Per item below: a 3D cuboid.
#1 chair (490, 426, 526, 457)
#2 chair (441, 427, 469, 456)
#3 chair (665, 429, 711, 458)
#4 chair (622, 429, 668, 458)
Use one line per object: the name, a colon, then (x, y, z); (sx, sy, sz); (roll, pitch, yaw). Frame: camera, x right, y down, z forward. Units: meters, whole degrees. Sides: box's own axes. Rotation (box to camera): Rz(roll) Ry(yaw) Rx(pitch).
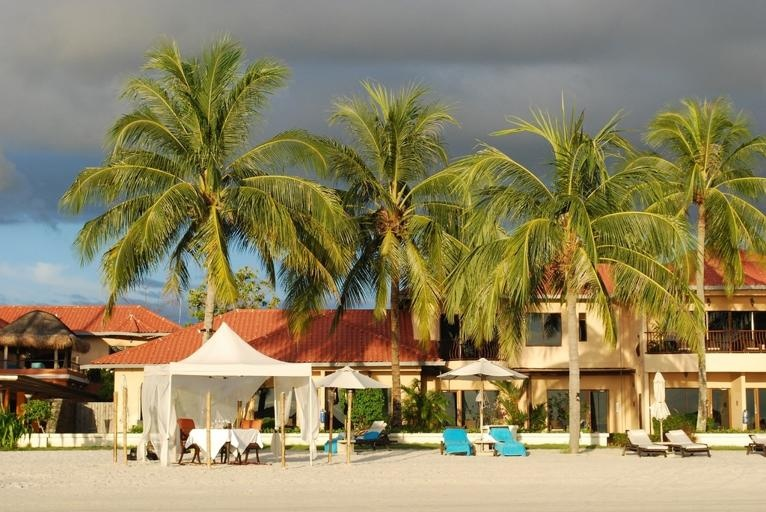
chair: (5.091, 7.752, 54.586); (0.855, 0.912, 1.376); (1, -10, -8)
chair: (3.065, 7.708, 54.442); (1.188, 1.275, 0.841); (-3, -13, 3)
chair: (12.517, 7.806, 54.569); (0.916, 0.833, 1.782); (0, -9, -6)
chair: (10.792, 7.787, 54.393); (0.956, 1.081, 1.791); (2, -9, -15)
